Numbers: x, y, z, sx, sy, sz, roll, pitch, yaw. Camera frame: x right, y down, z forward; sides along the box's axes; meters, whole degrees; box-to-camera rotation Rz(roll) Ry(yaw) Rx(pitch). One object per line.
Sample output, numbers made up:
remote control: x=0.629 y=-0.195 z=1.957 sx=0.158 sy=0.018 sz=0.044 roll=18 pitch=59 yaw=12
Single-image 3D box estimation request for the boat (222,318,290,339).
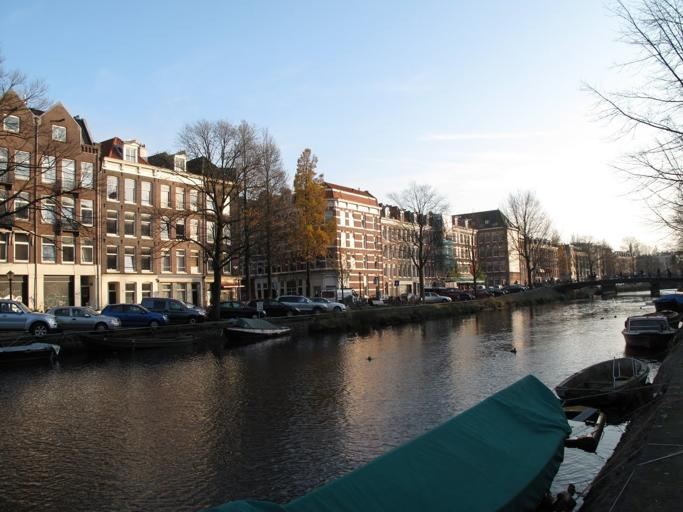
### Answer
boat: x=-5.261 y=4.454 z=39.271 sx=1.459 sy=1.238 sz=4.356 roll=-6 pitch=-6 yaw=38
